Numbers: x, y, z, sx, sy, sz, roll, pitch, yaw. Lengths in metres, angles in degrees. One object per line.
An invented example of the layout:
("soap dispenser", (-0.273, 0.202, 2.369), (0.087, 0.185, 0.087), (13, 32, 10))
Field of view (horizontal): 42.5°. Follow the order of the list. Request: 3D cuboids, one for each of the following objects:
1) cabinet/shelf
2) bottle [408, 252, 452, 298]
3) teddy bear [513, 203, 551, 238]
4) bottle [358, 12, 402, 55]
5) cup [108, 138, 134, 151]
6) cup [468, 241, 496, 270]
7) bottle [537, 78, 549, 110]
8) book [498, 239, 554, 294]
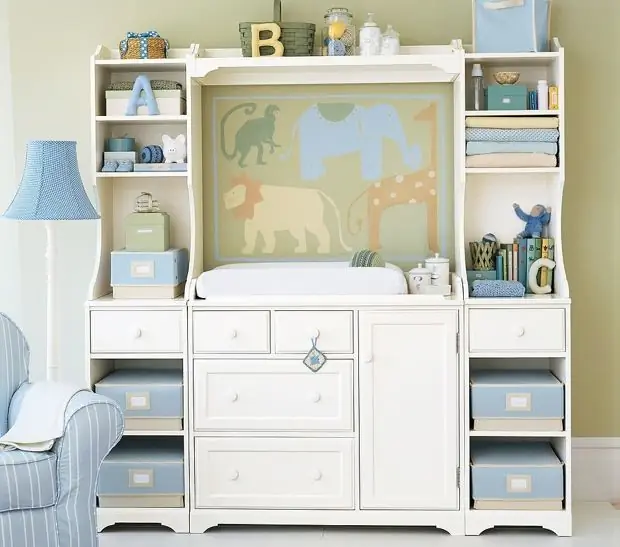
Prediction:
("cabinet/shelf", (0.132, 0.096, 3.669), (2.008, 2.304, 0.626), (-1, 0, 1))
("bottle", (0.553, 0.021, 3.678), (0.201, 0.225, 0.131), (1, 0, 8))
("teddy bear", (1.064, -0.250, 3.843), (0.172, 0.199, 0.106), (7, -14, 24))
("bottle", (0.308, -1.093, 3.632), (0.210, 0.228, 0.137), (0, 10, 1))
("cup", (-0.902, -0.603, 3.799), (0.075, 0.049, 0.081), (1, 3, 0))
("cup", (0.821, -0.088, 3.782), (0.121, 0.114, 0.116), (0, -2, 0))
("bottle", (1.057, -0.805, 3.599), (0.044, 0.136, 0.079), (-1, 0, 17))
("book", (1.012, -0.048, 3.732), (0.212, 0.316, 0.303), (0, 1, 6))
